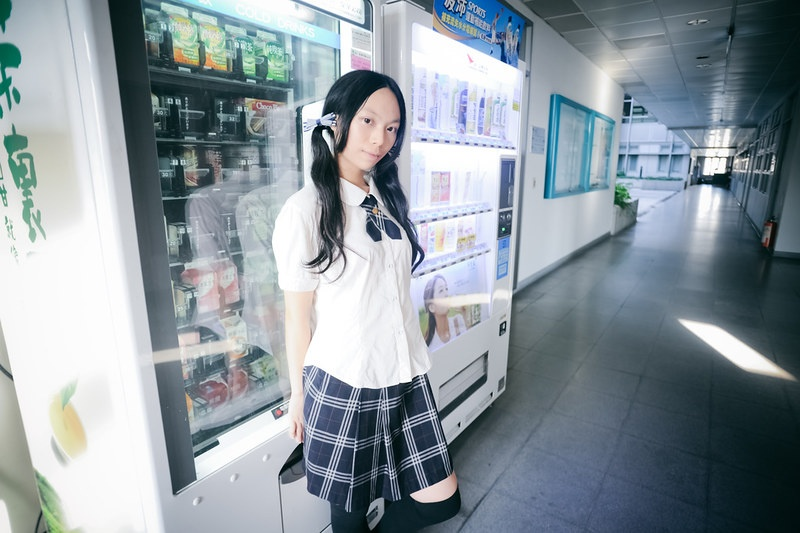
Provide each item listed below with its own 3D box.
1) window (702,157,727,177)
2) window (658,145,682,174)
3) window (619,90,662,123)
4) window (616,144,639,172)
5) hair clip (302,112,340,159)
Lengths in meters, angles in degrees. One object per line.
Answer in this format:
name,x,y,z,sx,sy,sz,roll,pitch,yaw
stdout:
window,30.093,-9.741,43.595,1.681,1.545,3.359,9,17,32
window,18.058,-7.130,30.414,1.460,2.085,2.370,8,16,29
window,15.391,-10.153,29.604,1.526,1.331,3.751,7,16,25
window,15.679,-7.418,31.223,1.179,1.860,3.455,7,16,26
hair clip,-0.305,-0.528,1.785,0.038,0.172,0.173,-5,16,29
